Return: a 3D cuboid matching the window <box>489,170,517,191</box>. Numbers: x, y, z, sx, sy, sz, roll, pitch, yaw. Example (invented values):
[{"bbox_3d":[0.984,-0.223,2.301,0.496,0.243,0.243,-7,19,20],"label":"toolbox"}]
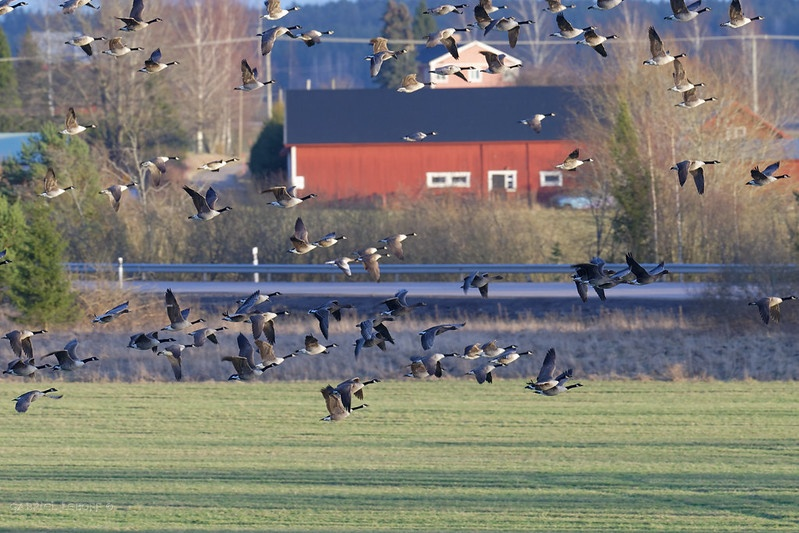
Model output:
[{"bbox_3d":[7.353,-6.129,156.196,1.601,1.488,0.864,2,6,11],"label":"window"}]
